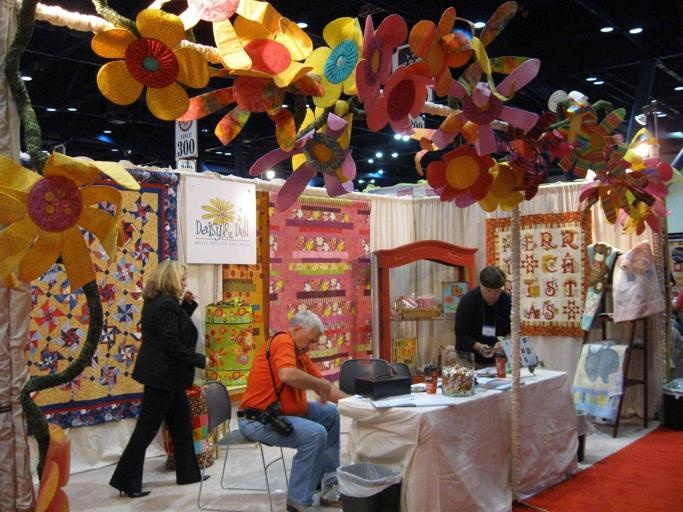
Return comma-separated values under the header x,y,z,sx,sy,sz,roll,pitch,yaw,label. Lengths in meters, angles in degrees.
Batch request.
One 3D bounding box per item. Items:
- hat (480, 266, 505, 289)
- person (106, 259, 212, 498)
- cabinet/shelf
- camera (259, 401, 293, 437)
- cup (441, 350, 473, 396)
x,y,z,sx,sy,sz,roll,pitch,yaw,label
1.316,0.184,5.080,0.157,0.188,0.206,-8,20,8,hat
-1.447,0.952,4.720,0.730,1.838,0.627,1,-3,-14,person
0.965,0.563,6.812,1.404,2.253,0.412,-1,1,-27,cabinet/shelf
-0.455,1.156,4.094,0.192,0.207,0.096,-42,-7,-14,camera
0.792,0.810,4.040,0.249,0.304,0.267,0,-12,0,cup
